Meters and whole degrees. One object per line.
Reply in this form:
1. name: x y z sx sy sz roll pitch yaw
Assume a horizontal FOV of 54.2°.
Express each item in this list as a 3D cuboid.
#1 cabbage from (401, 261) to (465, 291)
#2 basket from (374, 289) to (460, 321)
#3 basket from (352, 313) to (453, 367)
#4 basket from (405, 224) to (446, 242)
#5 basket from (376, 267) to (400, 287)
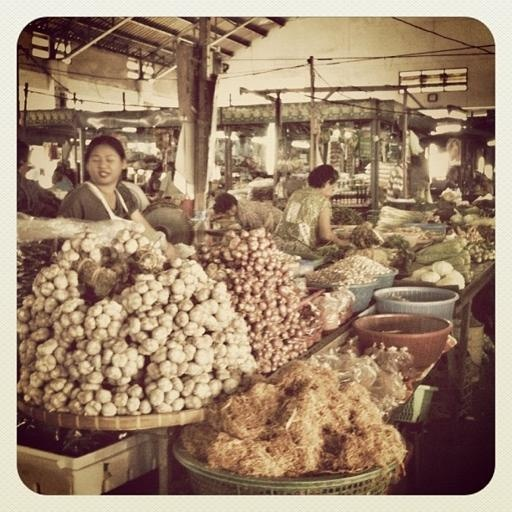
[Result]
1. cabbage: 1.062 0.117 2.993 0.310 0.157 0.161 -1 8 4
2. basket: 0.885 0.231 2.872 0.445 0.184 0.474 0 7 0
3. basket: 0.762 0.449 2.651 0.470 0.239 0.292 6 8 21
4. basket: 1.009 -0.145 2.962 0.227 0.095 0.045 2 8 -6
5. basket: 0.760 0.126 2.884 0.113 0.074 0.109 -7 9 -24
